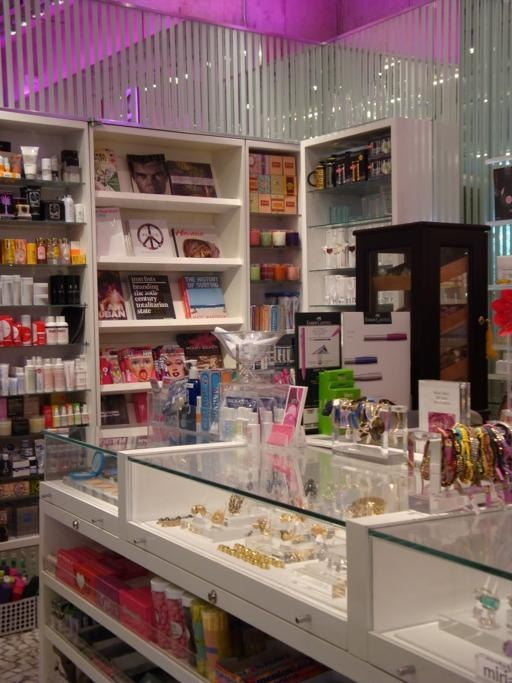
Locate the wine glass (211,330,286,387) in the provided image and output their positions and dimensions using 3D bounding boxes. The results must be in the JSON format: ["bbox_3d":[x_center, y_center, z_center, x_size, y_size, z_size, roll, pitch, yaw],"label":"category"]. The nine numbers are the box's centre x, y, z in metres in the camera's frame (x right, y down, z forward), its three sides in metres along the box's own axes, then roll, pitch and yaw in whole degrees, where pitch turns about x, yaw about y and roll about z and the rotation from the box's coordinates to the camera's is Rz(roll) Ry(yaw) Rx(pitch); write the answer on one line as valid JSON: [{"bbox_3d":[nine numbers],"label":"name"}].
[{"bbox_3d":[-0.020,0.065,2.321,0.221,0.152,0.222,2,1,-30],"label":"wine glass"}]

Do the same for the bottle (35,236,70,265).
[{"bbox_3d":[-1.437,-0.633,3.972,0.202,0.176,0.077,-1,4,-30],"label":"bottle"}]
